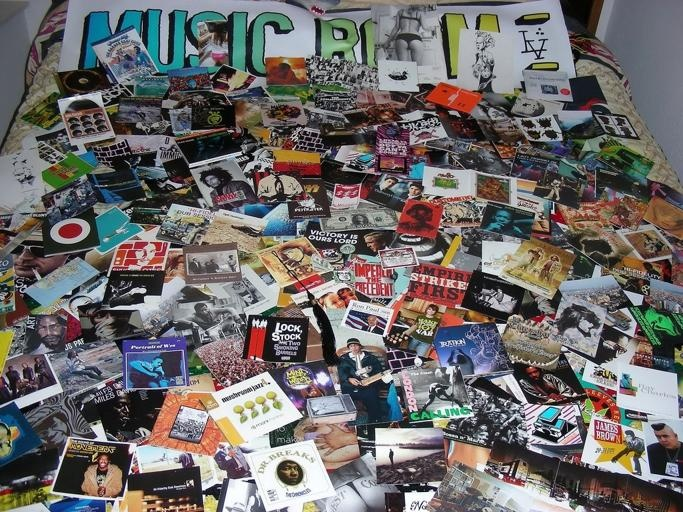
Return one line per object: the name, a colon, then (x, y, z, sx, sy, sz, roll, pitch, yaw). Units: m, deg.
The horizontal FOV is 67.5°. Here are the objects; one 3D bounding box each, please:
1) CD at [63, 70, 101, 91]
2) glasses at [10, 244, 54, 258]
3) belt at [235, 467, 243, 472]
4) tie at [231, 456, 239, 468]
CD: (-1.463, -0.986, 2.890, 0.191, 0.057, 0.189, -19, 47, -18)
glasses: (-1.356, -0.018, 2.240, 0.157, 0.019, 0.061, 3, 44, 4)
belt: (-0.344, 0.717, 1.708, 0.020, 0.004, 0.009, 3, 81, 6)
tie: (-0.359, 0.699, 1.722, 0.030, 0.007, 0.022, 7, 57, -42)
